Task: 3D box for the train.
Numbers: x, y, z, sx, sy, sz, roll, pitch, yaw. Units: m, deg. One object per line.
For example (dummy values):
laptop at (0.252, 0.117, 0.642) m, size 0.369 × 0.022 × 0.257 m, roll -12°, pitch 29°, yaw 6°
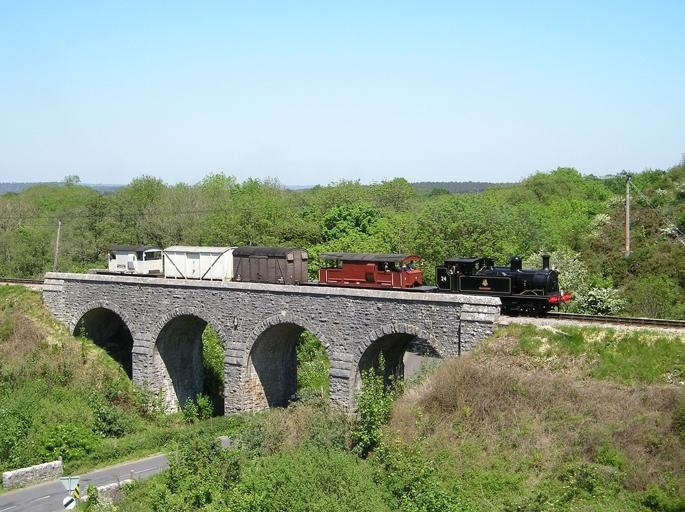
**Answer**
train at (-1.745, 1.288, 37.612) m, size 29.870 × 4.469 × 3.229 m, roll 3°, pitch -12°, yaw 23°
